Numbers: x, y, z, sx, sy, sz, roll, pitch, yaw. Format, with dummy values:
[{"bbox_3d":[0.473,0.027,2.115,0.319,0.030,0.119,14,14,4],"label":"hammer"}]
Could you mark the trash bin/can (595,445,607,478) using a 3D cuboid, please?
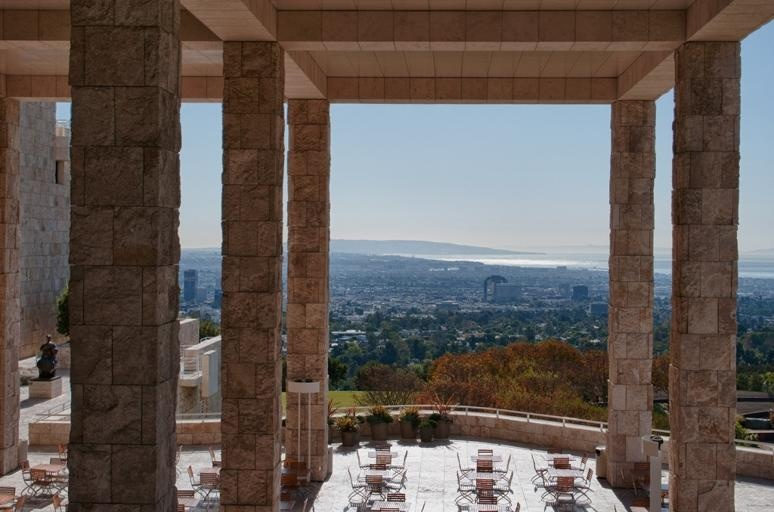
[{"bbox_3d":[6.575,6.360,32.054,0.345,0.928,0.338,-2,-3,11],"label":"trash bin/can"}]
